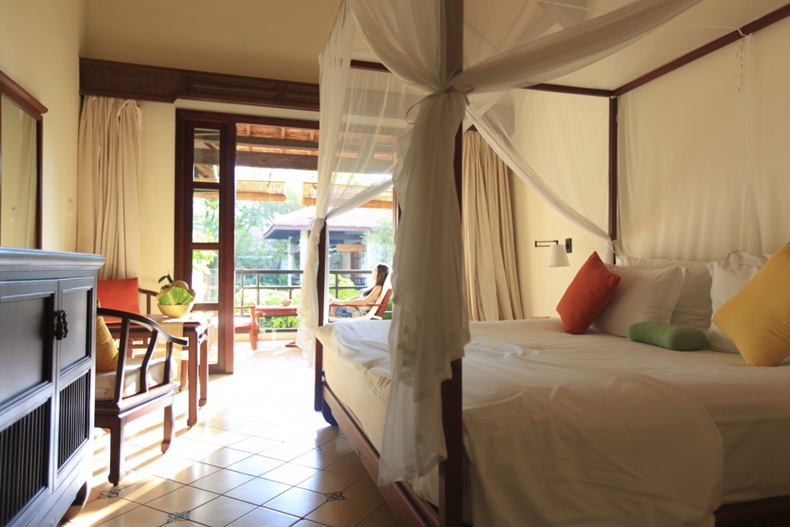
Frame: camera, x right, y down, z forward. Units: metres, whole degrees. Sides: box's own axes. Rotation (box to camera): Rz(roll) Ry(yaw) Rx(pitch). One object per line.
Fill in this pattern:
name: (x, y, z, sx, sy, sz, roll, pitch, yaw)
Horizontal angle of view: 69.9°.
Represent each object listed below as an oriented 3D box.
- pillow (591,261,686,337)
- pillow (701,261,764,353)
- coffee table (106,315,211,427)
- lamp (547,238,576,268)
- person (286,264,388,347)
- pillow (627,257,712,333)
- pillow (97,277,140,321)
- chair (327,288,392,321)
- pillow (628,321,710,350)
pillow: (1.779, 0.242, 4.055, 0.158, 0.499, 0.530, 26, -11, -30)
pillow: (2.150, 0.263, 3.702, 0.155, 0.489, 0.518, 14, 1, 8)
coffee table: (-1.876, 0.784, 4.716, 0.914, 0.855, 0.750, 0, 2, 2)
lamp: (1.548, -0.106, 5.360, 0.295, 0.312, 0.271, 5, -8, -33)
person: (-0.562, 0.584, 7.193, 0.974, 0.824, 0.636, 6, -10, -7)
pillow: (1.954, 0.238, 3.976, 0.378, 0.430, 0.130, -7, -22, 42)
pillow: (-2.636, 0.317, 5.237, 0.172, 0.328, 0.466, 14, 8, 44)
chair: (-0.457, 0.553, 7.137, 0.792, 0.509, 0.486, 2, -1, 3)
pillow: (1.799, 0.471, 3.735, 0.199, 0.103, 0.311, 7, 1, -23)
